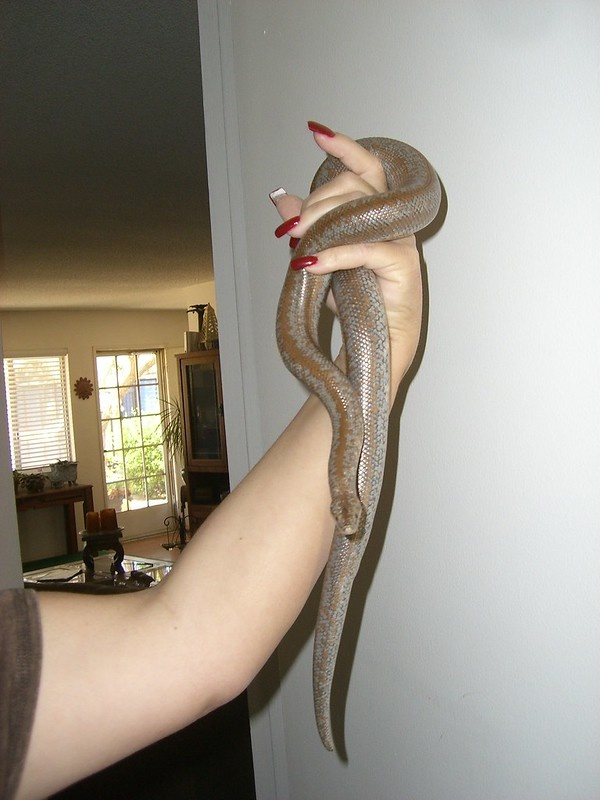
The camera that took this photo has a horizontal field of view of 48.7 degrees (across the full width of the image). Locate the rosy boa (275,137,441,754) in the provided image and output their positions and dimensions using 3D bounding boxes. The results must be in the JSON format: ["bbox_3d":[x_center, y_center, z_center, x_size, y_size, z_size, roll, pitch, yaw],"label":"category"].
[{"bbox_3d":[0.059,0.027,0.526,0.054,0.494,0.130,6,-7,-31],"label":"rosy boa"}]

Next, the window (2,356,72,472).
[{"bbox_3d":[-1.847,0.077,4.709,0.353,0.887,0.621,-6,1,-8],"label":"window"}]

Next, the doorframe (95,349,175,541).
[{"bbox_3d":[-1.325,0.301,5.369,0.219,1.536,0.701,-5,1,36],"label":"doorframe"}]
